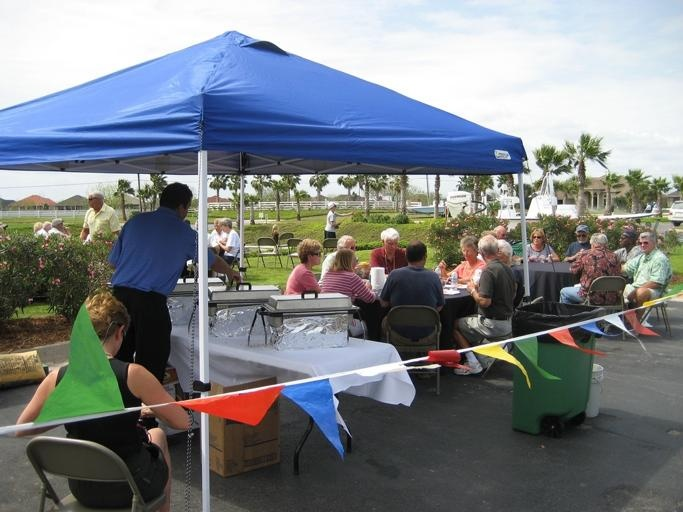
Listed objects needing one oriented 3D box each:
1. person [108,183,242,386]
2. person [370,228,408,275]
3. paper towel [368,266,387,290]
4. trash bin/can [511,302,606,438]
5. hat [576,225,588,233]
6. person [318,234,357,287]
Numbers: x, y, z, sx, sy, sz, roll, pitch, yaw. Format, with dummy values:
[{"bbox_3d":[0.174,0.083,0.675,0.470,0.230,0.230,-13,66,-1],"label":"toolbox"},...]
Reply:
[{"bbox_3d":[-1.484,0.413,5.095,1.019,2.052,0.915,9,11,-12],"label":"person"},{"bbox_3d":[0.633,-0.047,7.771,0.574,0.820,0.515,-2,3,-11],"label":"person"},{"bbox_3d":[0.420,0.264,7.118,0.221,0.234,0.190,-1,5,0],"label":"paper towel"},{"bbox_3d":[1.822,1.004,5.254,0.968,1.197,0.612,-3,8,-21],"label":"trash bin/can"},{"bbox_3d":[4.065,-0.455,9.962,0.208,0.105,0.340,3,2,28],"label":"hat"},{"bbox_3d":[-0.144,0.006,6.939,0.383,0.750,0.521,0,1,6],"label":"person"}]
